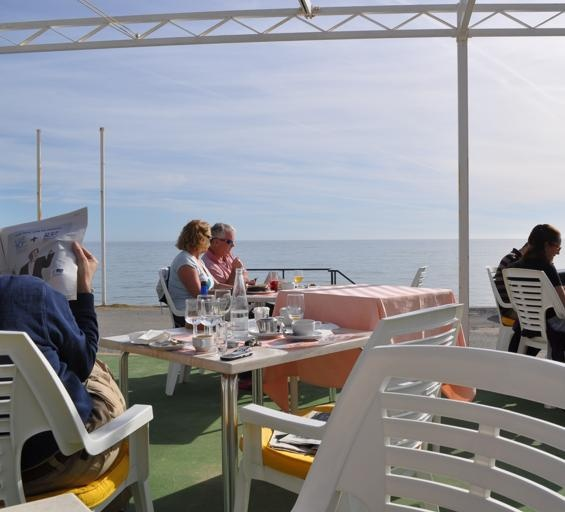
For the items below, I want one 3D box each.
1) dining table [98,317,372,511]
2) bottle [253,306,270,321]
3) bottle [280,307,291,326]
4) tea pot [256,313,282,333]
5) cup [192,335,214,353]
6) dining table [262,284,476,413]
[{"bbox_3d":[-0.228,0.705,2.177,0.878,0.422,0.620,-2,5,-36],"label":"dining table"},{"bbox_3d":[-0.103,0.258,2.615,0.052,0.072,0.083,-4,6,-45],"label":"bottle"},{"bbox_3d":[0.014,0.268,2.463,0.078,0.074,0.076,-2,7,-8],"label":"bottle"},{"bbox_3d":[-0.052,0.280,2.328,0.083,0.056,0.063,-6,-2,7],"label":"tea pot"},{"bbox_3d":[-0.285,0.315,2.017,0.063,0.042,0.063,-1,3,0],"label":"cup"},{"bbox_3d":[0.374,0.382,2.866,0.787,0.548,0.759,0,-2,-33],"label":"dining table"}]
